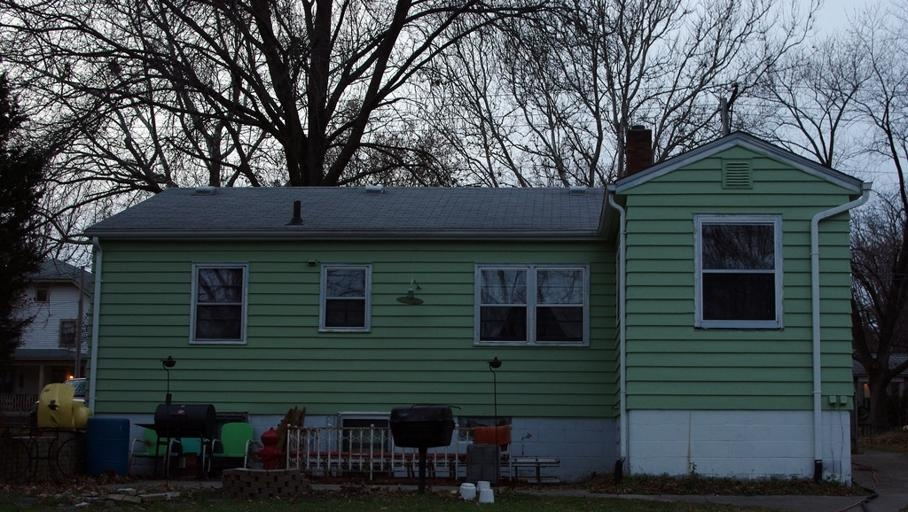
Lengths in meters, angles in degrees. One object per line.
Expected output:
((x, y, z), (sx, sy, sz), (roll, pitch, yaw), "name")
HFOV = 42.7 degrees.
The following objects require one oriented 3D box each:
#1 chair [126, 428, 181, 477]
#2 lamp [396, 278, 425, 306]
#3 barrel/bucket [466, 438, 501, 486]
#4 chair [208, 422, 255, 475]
((-8.264, 5.406, 32.193), (1.080, 1.323, 1.027), (3, -9, -1), "chair")
((-1.172, 0.962, 32.464), (0.752, 0.729, 0.811), (0, -10, -4), "lamp")
((0.772, 5.498, 30.899), (1.054, 0.942, 0.996), (0, -4, 0), "barrel/bucket")
((-6.077, 5.267, 32.034), (1.322, 1.459, 0.964), (-4, -11, 17), "chair")
